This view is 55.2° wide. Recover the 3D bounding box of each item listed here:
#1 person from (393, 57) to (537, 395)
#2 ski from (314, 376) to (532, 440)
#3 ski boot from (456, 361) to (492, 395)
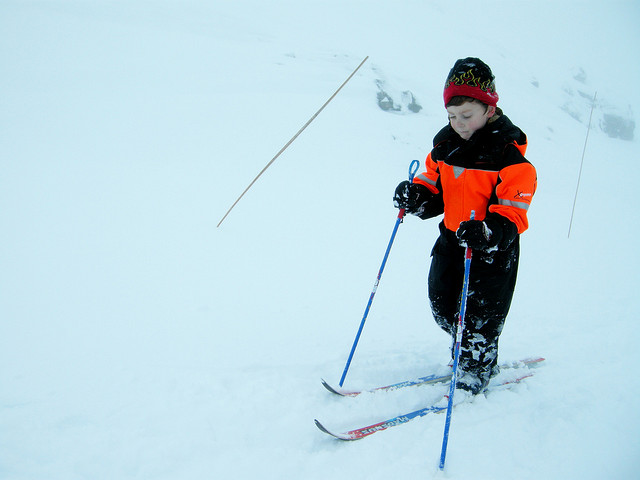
[{"bbox_3d":[1.616,-0.097,6.607,1.273,3.626,0.681,4,6,18],"label":"person"},{"bbox_3d":[1.149,1.872,6.692,1.433,0.180,0.151,-19,39,-9],"label":"ski"},{"bbox_3d":[1.719,1.557,6.867,0.406,0.270,0.122,-39,4,-16],"label":"ski boot"}]
